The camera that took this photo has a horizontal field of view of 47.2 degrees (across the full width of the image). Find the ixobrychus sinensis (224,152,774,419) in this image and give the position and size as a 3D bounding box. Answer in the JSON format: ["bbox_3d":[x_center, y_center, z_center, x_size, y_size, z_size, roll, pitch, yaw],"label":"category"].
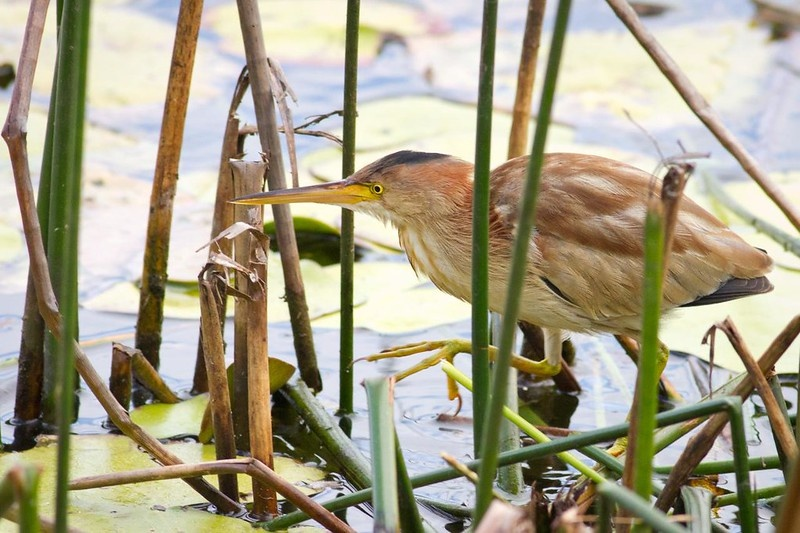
[{"bbox_3d":[0.442,-0.003,3.145,1.605,0.809,0.550,-3,7,-9],"label":"ixobrychus sinensis"}]
